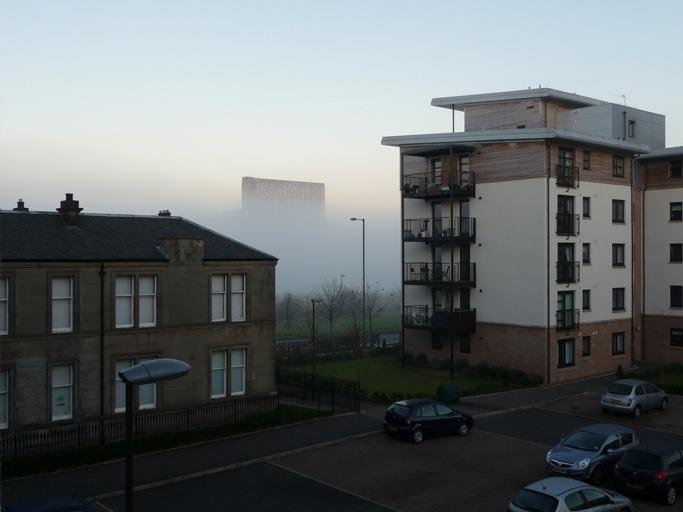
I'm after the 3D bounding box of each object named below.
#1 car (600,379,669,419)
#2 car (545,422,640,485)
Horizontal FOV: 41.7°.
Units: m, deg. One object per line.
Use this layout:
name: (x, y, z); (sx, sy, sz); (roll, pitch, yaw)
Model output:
car: (16.473, 8.110, 51.091); (4.122, 1.888, 1.807); (2, -3, -42)
car: (11.714, 9.258, 41.974); (5.105, 2.139, 2.927); (2, -3, -43)
